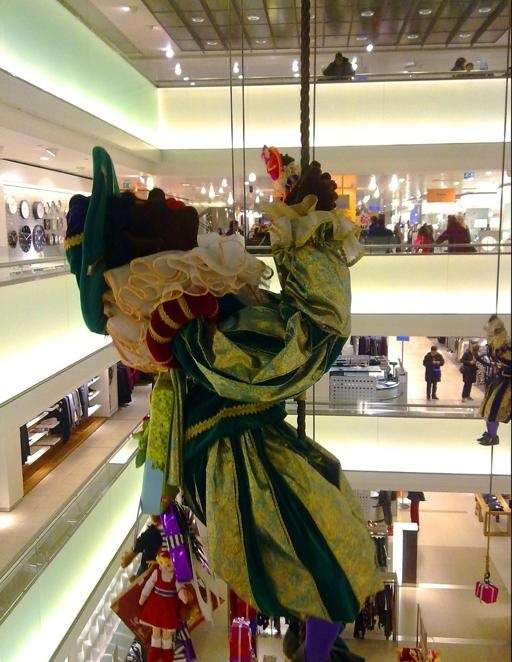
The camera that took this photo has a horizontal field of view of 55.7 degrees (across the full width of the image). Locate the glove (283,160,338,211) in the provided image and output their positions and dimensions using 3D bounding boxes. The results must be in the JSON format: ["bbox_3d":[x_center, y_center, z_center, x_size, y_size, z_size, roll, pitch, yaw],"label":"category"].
[{"bbox_3d":[0.076,-0.185,0.627,0.021,0.046,0.078,-10,3,-31],"label":"glove"}]
